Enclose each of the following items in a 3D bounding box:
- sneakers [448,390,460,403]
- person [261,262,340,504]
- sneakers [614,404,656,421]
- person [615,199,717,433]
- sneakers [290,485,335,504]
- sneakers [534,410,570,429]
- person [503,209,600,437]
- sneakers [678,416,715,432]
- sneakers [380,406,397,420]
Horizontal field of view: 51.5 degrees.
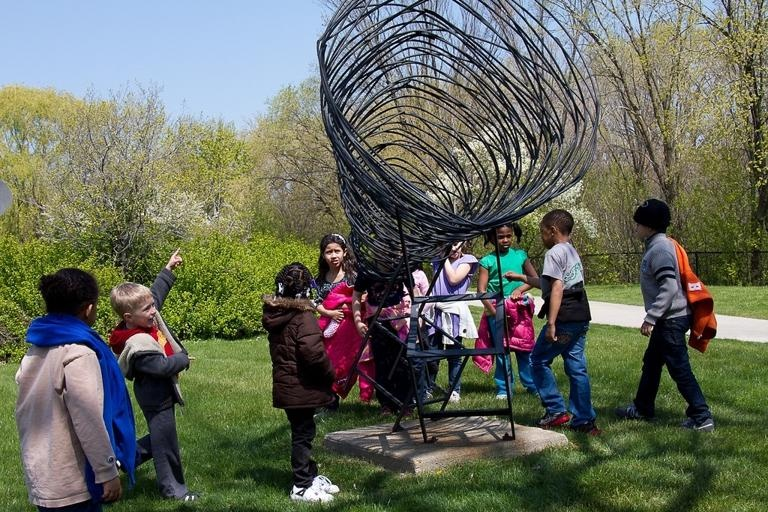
[{"bbox_3d":[0.968,1.932,10.886,0.154,0.091,0.226,-4,8,3],"label":"sneakers"},{"bbox_3d":[-0.881,1.353,8.668,0.607,2.457,0.882,-9,11,-35],"label":"person"},{"bbox_3d":[3.165,1.978,10.054,0.418,0.212,0.175,5,6,25],"label":"sneakers"},{"bbox_3d":[3.488,0.903,9.679,1.001,2.303,0.607,1,10,19],"label":"person"},{"bbox_3d":[-0.782,2.551,8.574,0.424,0.216,0.185,-1,3,2],"label":"sneakers"},{"bbox_3d":[2.094,2.014,9.874,0.392,0.196,0.177,-3,5,11],"label":"sneakers"},{"bbox_3d":[2.183,0.791,9.690,0.796,2.663,0.729,0,9,11],"label":"person"},{"bbox_3d":[3.762,2.006,9.621,0.413,0.203,0.167,6,32,33],"label":"sneakers"},{"bbox_3d":[0.047,2.021,10.418,0.214,0.115,0.204,-1,10,8],"label":"sneakers"}]
